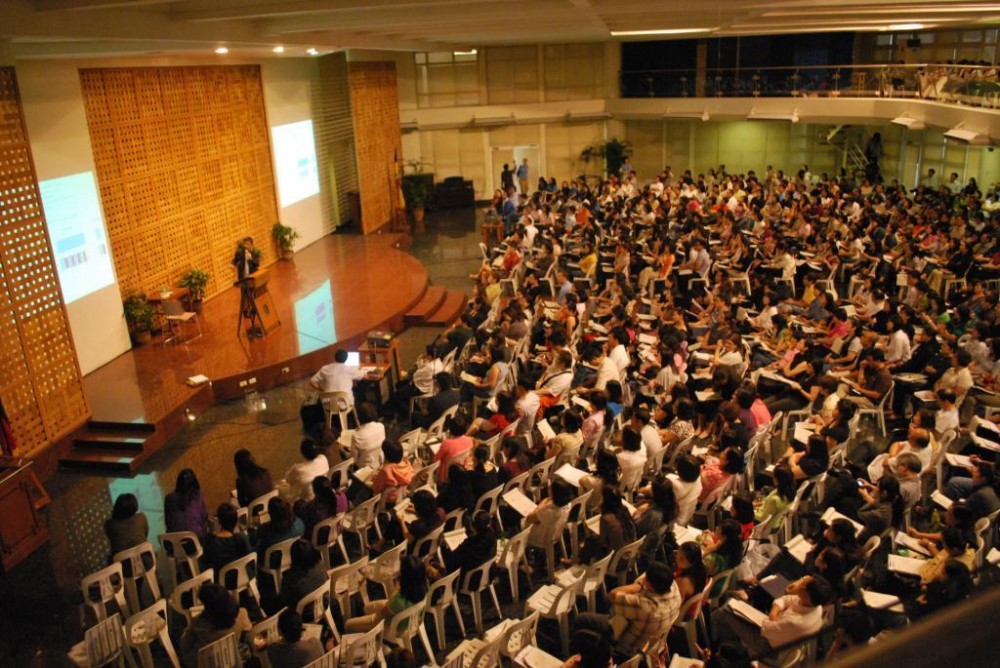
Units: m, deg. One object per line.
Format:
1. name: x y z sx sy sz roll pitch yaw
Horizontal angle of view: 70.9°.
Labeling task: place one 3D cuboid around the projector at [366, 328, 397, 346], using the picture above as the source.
1. projector: -2.040 0.131 12.478 0.378 0.179 0.359 7 20 12

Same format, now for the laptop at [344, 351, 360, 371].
1. laptop: -2.470 0.467 11.799 0.313 0.291 0.109 1 9 4
